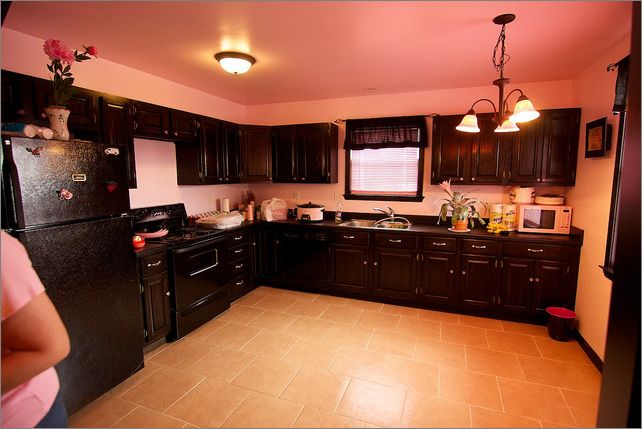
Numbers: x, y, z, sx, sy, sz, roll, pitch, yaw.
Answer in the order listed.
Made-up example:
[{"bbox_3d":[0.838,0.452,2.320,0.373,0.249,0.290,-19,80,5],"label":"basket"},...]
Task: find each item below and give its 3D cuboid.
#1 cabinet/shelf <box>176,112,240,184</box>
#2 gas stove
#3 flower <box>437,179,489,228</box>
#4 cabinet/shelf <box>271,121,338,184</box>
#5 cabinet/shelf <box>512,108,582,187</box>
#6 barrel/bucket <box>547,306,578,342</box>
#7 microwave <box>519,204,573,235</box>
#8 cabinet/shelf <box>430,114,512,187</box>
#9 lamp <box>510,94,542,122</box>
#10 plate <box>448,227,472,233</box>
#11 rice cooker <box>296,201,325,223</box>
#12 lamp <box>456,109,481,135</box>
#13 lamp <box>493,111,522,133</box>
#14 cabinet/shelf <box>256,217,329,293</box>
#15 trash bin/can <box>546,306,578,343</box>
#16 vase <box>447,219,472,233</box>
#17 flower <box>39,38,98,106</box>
[{"bbox_3d":[-1.445,-0.802,5.253,0.431,0.889,0.974,0,3,21],"label":"cabinet/shelf"},{"bbox_3d":[-1.660,0.109,4.802,0.542,0.229,0.708,3,7,19],"label":"gas stove"},{"bbox_3d":[1.712,-0.074,5.298,0.629,0.613,0.565,4,-6,-30],"label":"flower"},{"bbox_3d":[-0.210,-0.832,5.723,0.832,0.699,0.297,2,6,19],"label":"cabinet/shelf"},{"bbox_3d":[2.534,-0.755,4.689,0.848,0.982,0.355,3,10,29],"label":"cabinet/shelf"},{"bbox_3d":[2.568,1.145,4.569,0.307,0.315,0.309,2,7,0],"label":"barrel/bucket"},{"bbox_3d":[2.542,0.062,4.790,0.556,0.351,0.339,1,2,22],"label":"microwave"},{"bbox_3d":[1.773,-0.746,4.941,0.871,0.738,0.338,3,5,26],"label":"cabinet/shelf"},{"bbox_3d":[1.804,-0.898,3.704,0.246,0.252,0.255,-4,9,-20],"label":"lamp"},{"bbox_3d":[1.651,0.193,5.036,0.285,0.035,0.230,0,6,13],"label":"plate"},{"bbox_3d":[-0.157,-0.027,5.606,0.273,0.164,0.258,2,1,13],"label":"rice cooker"},{"bbox_3d":[1.400,-0.888,4.032,0.174,0.207,0.214,1,8,20],"label":"lamp"},{"bbox_3d":[1.735,-0.815,3.923,0.248,0.145,0.243,-7,9,-33],"label":"lamp"},{"bbox_3d":[-0.365,0.531,5.609,0.976,0.877,0.416,2,3,22],"label":"cabinet/shelf"},{"bbox_3d":[2.572,1.180,4.546,0.284,0.295,0.294,3,8,30],"label":"trash bin/can"},{"bbox_3d":[1.669,0.152,5.062,0.183,0.074,0.179,-6,7,-33],"label":"vase"},{"bbox_3d":[-2.266,-1.215,3.796,0.357,0.534,0.775,-6,8,-33],"label":"flower"}]
